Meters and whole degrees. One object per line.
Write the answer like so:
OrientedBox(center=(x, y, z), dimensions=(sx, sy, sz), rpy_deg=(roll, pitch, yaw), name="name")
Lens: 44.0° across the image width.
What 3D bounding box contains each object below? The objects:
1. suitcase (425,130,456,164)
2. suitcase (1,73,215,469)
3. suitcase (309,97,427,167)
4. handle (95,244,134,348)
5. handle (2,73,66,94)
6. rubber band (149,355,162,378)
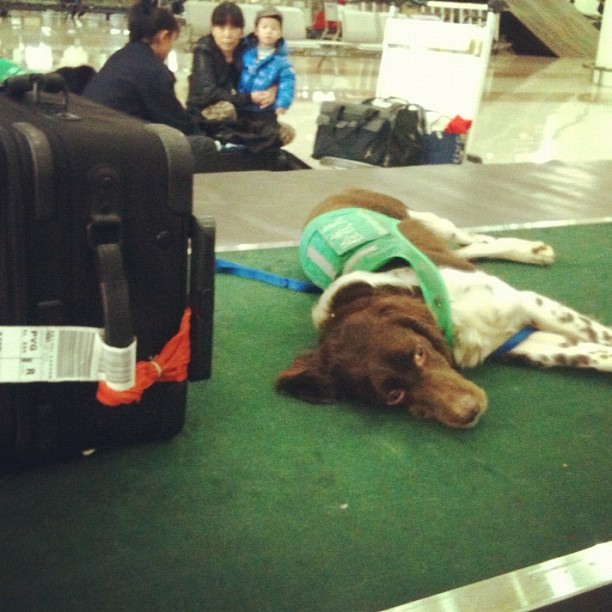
OrientedBox(center=(0.908, -1.073, 5.073), dimensions=(0.302, 0.192, 0.071), rpy_deg=(-1, 13, -2), name="suitcase")
OrientedBox(center=(-0.528, -0.062, 1.999), dimensions=(0.564, 1.031, 0.639), rpy_deg=(1, 29, -7), name="suitcase")
OrientedBox(center=(0.411, -1.145, 4.879), dimensions=(0.688, 0.481, 0.179), rpy_deg=(7, 1, -1), name="suitcase")
OrientedBox(center=(-0.475, -0.008, 1.803), dimensions=(0.084, 0.205, 0.088), rpy_deg=(4, 10, 30), name="handle")
OrientedBox(center=(-0.740, -0.612, 2.067), dimensions=(0.208, 0.050, 0.101), rpy_deg=(2, 10, 18), name="handle")
OrientedBox(center=(-0.399, 0.157, 1.999), dimensions=(0.014, 0.043, 0.047), rpy_deg=(-11, -13, -27), name="rubber band")
